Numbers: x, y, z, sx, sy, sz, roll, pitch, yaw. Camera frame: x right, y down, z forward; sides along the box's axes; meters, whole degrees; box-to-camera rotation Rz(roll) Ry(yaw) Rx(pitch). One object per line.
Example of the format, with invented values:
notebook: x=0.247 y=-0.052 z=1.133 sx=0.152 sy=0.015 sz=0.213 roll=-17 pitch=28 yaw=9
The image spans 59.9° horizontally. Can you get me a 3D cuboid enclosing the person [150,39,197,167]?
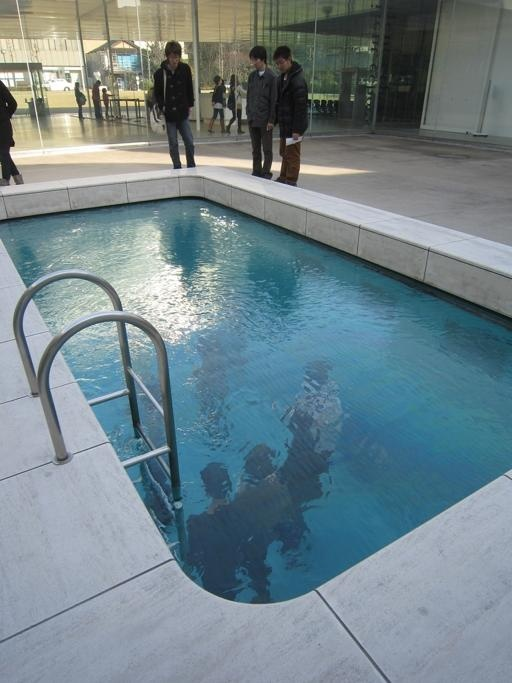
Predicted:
person: x=-1.389 y=-3.981 z=7.550 sx=0.644 sy=1.974 sz=1.021 roll=-4 pitch=27 yaw=-8

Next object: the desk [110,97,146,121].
desk: x=-3.438 y=-6.253 z=11.987 sx=0.655 sy=0.491 sz=0.648 roll=-13 pitch=40 yaw=-23

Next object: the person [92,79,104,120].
person: x=-4.117 y=-6.326 z=11.490 sx=0.301 sy=0.929 sz=0.286 roll=-27 pitch=62 yaw=-31

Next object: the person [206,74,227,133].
person: x=-1.165 y=-6.914 z=12.938 sx=0.533 sy=1.450 sz=0.243 roll=-10 pitch=28 yaw=-19

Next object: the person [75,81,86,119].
person: x=-4.491 y=-6.154 z=11.329 sx=0.276 sy=0.825 sz=0.099 roll=-24 pitch=35 yaw=-39
